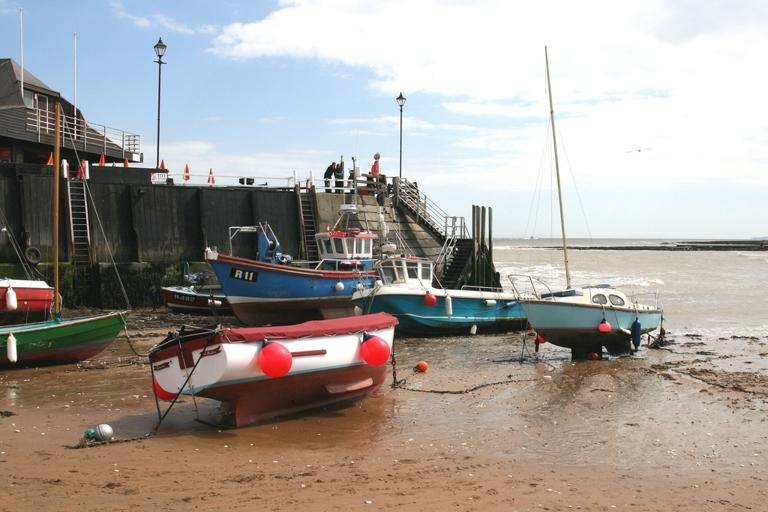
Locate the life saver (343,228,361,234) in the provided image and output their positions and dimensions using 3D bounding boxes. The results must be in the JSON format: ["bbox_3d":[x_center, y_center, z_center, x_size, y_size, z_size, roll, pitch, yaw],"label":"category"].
[{"bbox_3d":[-1.177,-0.968,26.440,0.442,0.144,0.393,-4,4,2],"label":"life saver"}]

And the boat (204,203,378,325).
[{"bbox_3d":[-4.181,0.776,25.973,7.564,3.228,3.187,-3,3,-39],"label":"boat"}]

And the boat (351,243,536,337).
[{"bbox_3d":[1.908,1.548,25.924,6.029,1.935,3.257,6,-10,-32],"label":"boat"}]

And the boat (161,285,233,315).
[{"bbox_3d":[-7.388,1.739,27.197,3.332,0.792,1.335,4,2,-29],"label":"boat"}]
